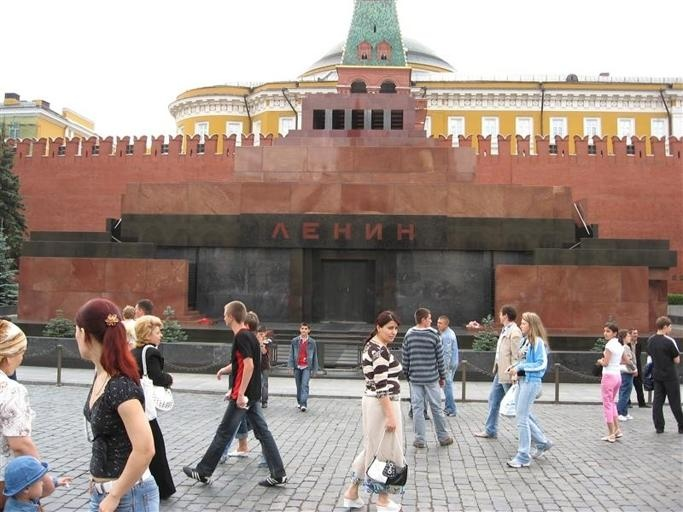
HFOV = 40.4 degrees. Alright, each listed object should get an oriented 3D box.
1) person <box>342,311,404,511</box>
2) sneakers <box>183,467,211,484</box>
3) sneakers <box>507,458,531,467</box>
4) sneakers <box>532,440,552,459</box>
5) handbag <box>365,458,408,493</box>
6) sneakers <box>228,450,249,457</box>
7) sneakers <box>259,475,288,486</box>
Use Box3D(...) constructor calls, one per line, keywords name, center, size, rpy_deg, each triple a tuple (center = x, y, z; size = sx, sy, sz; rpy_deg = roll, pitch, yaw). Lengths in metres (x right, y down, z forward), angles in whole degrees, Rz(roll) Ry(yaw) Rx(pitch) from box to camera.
Box3D(name="person", center=(0.665, 2.984, 17.583), size=(1.055, 3.550, 1.091), rpy_deg=(3, 10, 11))
Box3D(name="sneakers", center=(-2.813, 4.310, 18.104), size=(0.400, 0.165, 0.143), rpy_deg=(27, 31, -3))
Box3D(name="sneakers", center=(3.569, 4.251, 18.927), size=(0.480, 0.202, 0.175), rpy_deg=(3, -6, -2))
Box3D(name="sneakers", center=(4.159, 4.059, 19.273), size=(0.252, 0.219, 0.584), rpy_deg=(19, -28, -7))
Box3D(name="handbag", center=(0.804, 4.096, 17.239), size=(0.607, 0.542, 0.297), rpy_deg=(5, 11, 5))
Box3D(name="sneakers", center=(-2.141, 4.110, 19.265), size=(0.431, 0.158, 0.156), rpy_deg=(5, -12, 2))
Box3D(name="sneakers", center=(-1.331, 4.416, 18.088), size=(0.557, 0.236, 0.196), rpy_deg=(5, -11, -1))
